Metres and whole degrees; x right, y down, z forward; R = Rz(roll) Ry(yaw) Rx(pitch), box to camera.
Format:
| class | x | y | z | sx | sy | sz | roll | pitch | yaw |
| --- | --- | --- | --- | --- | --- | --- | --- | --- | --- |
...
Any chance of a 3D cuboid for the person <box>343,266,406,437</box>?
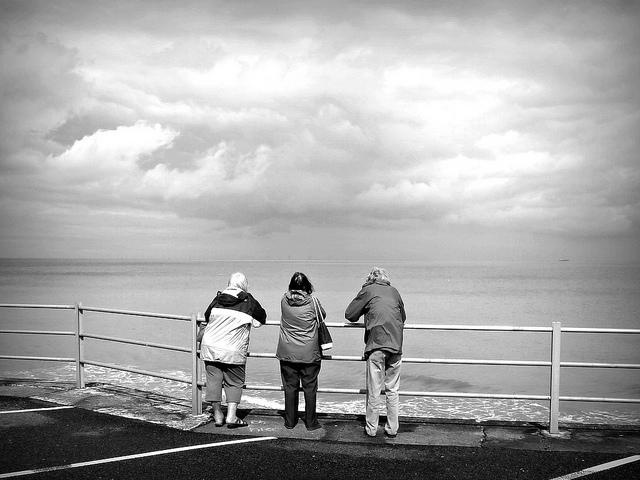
| class | x | y | z | sx | sy | sz | roll | pitch | yaw |
| --- | --- | --- | --- | --- | --- | --- | --- | --- | --- |
| person | 0.885 | 1.680 | 9.848 | 0.791 | 2.513 | 0.655 | 1 | -1 | 8 |

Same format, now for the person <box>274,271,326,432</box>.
| class | x | y | z | sx | sy | sz | roll | pitch | yaw |
| --- | --- | --- | --- | --- | --- | --- | --- | --- | --- |
| person | -0.297 | 1.696 | 9.931 | 0.728 | 2.385 | 0.415 | 2 | -1 | -3 |

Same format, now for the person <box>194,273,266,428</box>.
| class | x | y | z | sx | sy | sz | roll | pitch | yaw |
| --- | --- | --- | --- | --- | --- | --- | --- | --- | --- |
| person | -1.405 | 1.697 | 10.138 | 0.988 | 2.364 | 0.626 | 2 | -1 | -10 |

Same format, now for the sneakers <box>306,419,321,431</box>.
| class | x | y | z | sx | sy | sz | roll | pitch | yaw |
| --- | --- | --- | --- | --- | --- | --- | --- | --- | --- |
| sneakers | -0.094 | 2.807 | 9.830 | 0.240 | 0.162 | 0.106 | -10 | 14 | -42 |

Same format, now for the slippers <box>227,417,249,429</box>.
| class | x | y | z | sx | sy | sz | roll | pitch | yaw |
| --- | --- | --- | --- | --- | --- | --- | --- | --- | --- |
| slippers | -1.258 | 2.830 | 9.955 | 0.333 | 0.138 | 0.124 | 3 | 2 | -35 |
